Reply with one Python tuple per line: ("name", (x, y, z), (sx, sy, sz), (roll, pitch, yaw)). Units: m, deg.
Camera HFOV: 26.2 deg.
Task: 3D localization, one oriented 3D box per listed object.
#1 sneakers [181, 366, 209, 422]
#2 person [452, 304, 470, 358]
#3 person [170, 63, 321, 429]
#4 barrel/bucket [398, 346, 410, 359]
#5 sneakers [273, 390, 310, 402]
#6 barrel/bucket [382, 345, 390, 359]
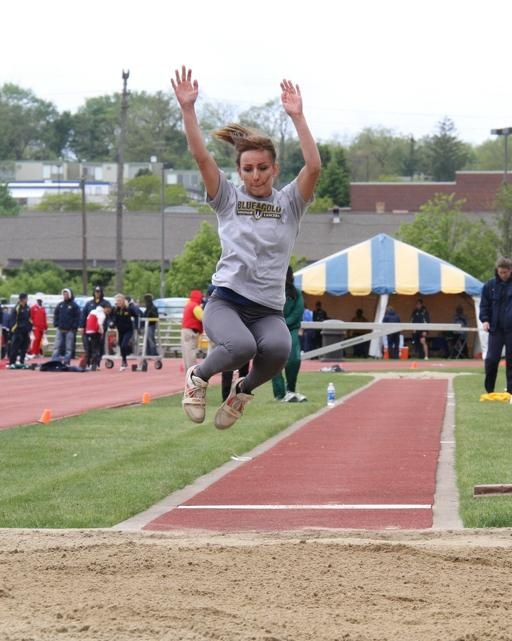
("sneakers", (-0.317, 0.419, 6.071), (0.122, 0.333, 0.144), (2, -13, -26))
("person", (5.338, 0.178, 28.743), (0.352, 1.252, 0.337), (-37, 45, -27))
("person", (-0.062, -0.364, 5.722), (0.748, 1.940, 0.837), (1, 1, 10))
("barrel/bucket", (3.855, 0.848, 28.879), (0.270, 0.314, 0.470), (1, -1, 6))
("sneakers", (0.423, 0.905, 13.360), (0.369, 0.146, 0.133), (-7, -1, 16))
("barrel/bucket", (3.384, 0.838, 28.951), (0.259, 0.354, 0.250), (0, -1, 0))
